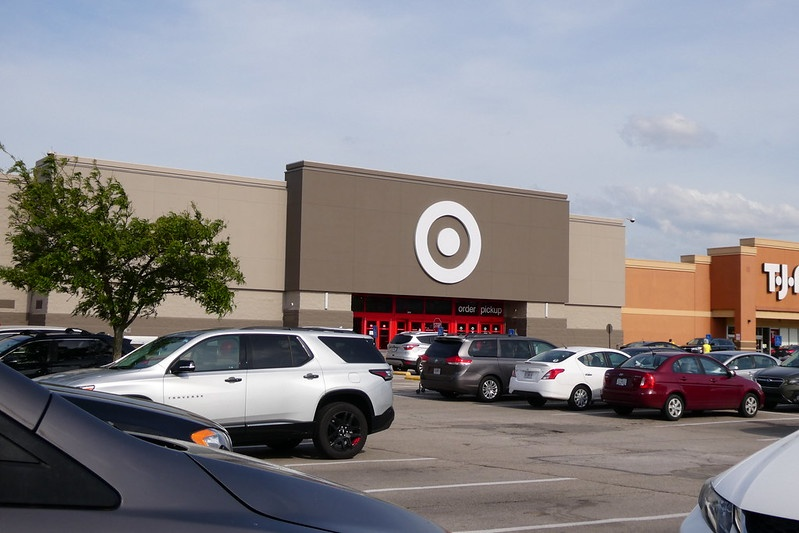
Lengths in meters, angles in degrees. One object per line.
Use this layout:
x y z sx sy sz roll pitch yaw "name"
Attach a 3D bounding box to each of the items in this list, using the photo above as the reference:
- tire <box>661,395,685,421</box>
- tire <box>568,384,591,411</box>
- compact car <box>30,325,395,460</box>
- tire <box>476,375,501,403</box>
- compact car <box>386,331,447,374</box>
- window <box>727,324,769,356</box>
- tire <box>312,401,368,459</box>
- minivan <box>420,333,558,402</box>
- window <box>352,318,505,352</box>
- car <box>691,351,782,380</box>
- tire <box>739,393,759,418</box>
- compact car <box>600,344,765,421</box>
6.973 3.585 19.462 0.733 0.710 0.240 0 2 -37 "tire"
5.107 3.700 21.698 0.763 0.740 0.266 -3 8 -30 "tire"
-2.670 1.909 12.690 4.929 1.729 2.226 6 -7 -27 "compact car"
2.717 3.744 23.461 0.861 0.835 0.274 -3 1 -25 "tire"
1.274 4.160 37.463 3.244 1.342 1.808 -2 2 -35 "compact car"
26.634 5.519 58.272 4.249 2.858 2.232 1 -3 -31 "window"
-1.035 2.715 12.692 0.989 0.957 0.312 -4 -9 -36 "tire"
3.105 3.122 24.382 3.928 1.334 1.934 -1 -1 -32 "minivan"
2.132 3.927 50.688 7.085 2.111 4.473 1 -4 -22 "window"
10.466 3.077 23.570 2.884 1.063 1.289 -2 2 -21 "car"
9.554 3.772 20.826 0.720 0.700 0.231 -8 6 -35 "tire"
7.535 3.152 20.495 3.839 1.390 1.789 -1 -1 -26 "compact car"
